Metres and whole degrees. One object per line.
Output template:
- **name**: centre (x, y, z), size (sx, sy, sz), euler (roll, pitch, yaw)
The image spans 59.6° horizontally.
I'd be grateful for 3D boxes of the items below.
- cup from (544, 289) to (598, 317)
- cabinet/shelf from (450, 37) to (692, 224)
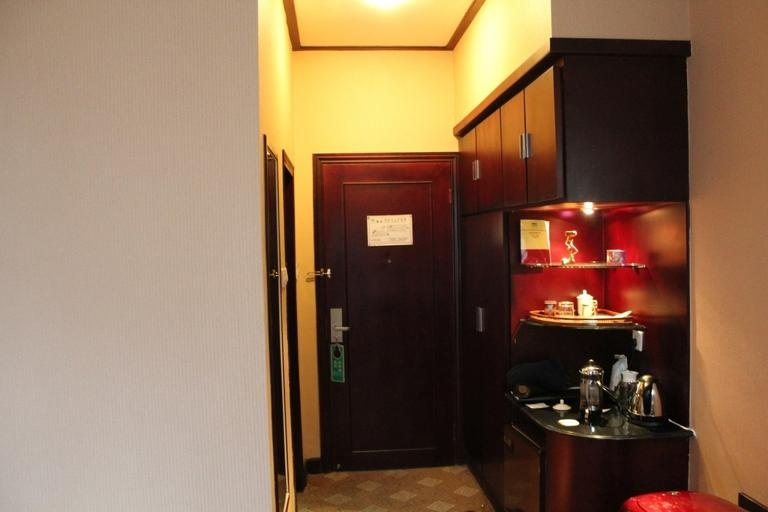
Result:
- **cup**: centre (1.240, 0.309, 4.433), size (0.333, 0.154, 0.339), euler (-1, 1, 0)
- **cabinet/shelf**: centre (1.149, -0.776, 4.088), size (1.330, 0.934, 0.736), euler (-1, 1, 27)
